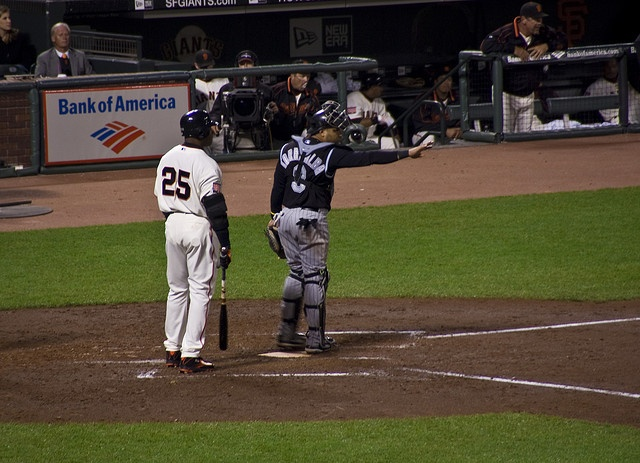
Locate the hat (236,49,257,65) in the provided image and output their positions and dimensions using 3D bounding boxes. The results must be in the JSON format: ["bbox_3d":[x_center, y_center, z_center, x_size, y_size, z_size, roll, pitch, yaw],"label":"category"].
[{"bbox_3d":[-1.224,-2.860,18.076,0.284,0.201,0.390,-1,-13,0],"label":"hat"}]

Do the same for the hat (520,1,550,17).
[{"bbox_3d":[3.371,-3.495,17.448,0.428,0.247,0.301,2,17,16],"label":"hat"}]

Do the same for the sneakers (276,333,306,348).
[{"bbox_3d":[-0.314,1.152,11.562,0.324,0.158,0.128,-4,3,-9],"label":"sneakers"}]

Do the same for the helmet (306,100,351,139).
[{"bbox_3d":[0.080,-1.154,11.513,0.490,0.373,0.348,-4,19,-1],"label":"helmet"}]

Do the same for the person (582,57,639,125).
[{"bbox_3d":[4.920,-2.321,18.584,0.894,1.287,0.499,-6,31,21],"label":"person"}]

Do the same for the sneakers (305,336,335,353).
[{"bbox_3d":[0.031,1.168,11.472,0.120,0.171,0.373,14,23,42],"label":"sneakers"}]

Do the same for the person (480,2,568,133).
[{"bbox_3d":[3.228,-2.611,17.869,1.006,2.057,0.926,6,10,41],"label":"person"}]

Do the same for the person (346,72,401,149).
[{"bbox_3d":[0.861,-1.705,18.661,1.014,1.924,0.844,2,14,10],"label":"person"}]

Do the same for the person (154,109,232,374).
[{"bbox_3d":[-1.273,0.116,10.999,0.716,2.557,0.496,-1,7,-8],"label":"person"}]

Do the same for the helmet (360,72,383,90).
[{"bbox_3d":[0.863,-2.535,18.377,0.259,0.229,0.355,-6,17,20],"label":"helmet"}]

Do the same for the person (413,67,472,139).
[{"bbox_3d":[2.100,-2.081,18.910,0.967,1.396,1.010,15,18,39],"label":"person"}]

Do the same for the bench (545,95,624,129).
[{"bbox_3d":[4.380,-2.129,18.513,0.984,0.376,0.330,-1,45,0],"label":"bench"}]

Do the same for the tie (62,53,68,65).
[{"bbox_3d":[-4.067,-2.739,17.502,0.141,0.182,0.043,-3,2,-17],"label":"tie"}]

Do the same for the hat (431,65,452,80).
[{"bbox_3d":[2.336,-3.105,21.622,0.401,0.182,0.310,-13,6,-36],"label":"hat"}]

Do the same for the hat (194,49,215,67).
[{"bbox_3d":[-1.946,-2.856,18.333,0.256,0.196,0.357,-7,31,-13],"label":"hat"}]

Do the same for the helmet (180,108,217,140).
[{"bbox_3d":[-1.228,-1.083,11.147,0.380,0.308,0.336,-10,14,-11],"label":"helmet"}]
